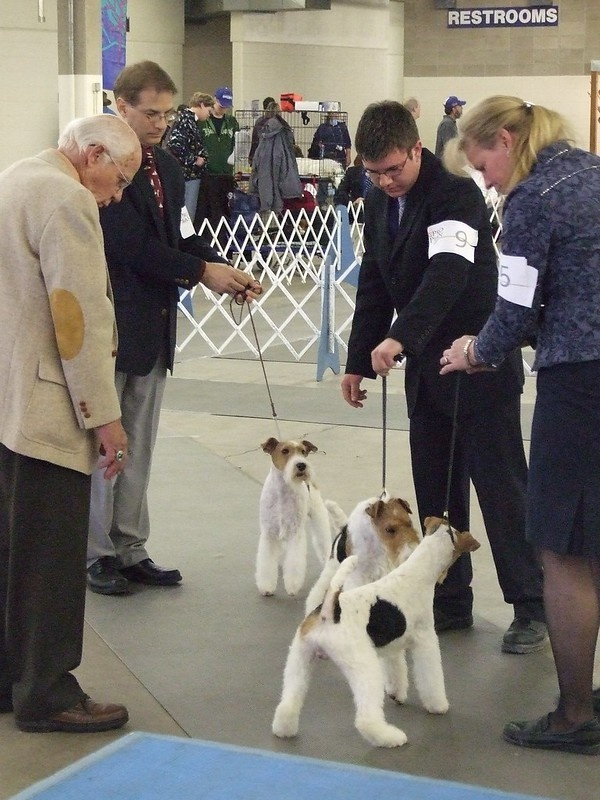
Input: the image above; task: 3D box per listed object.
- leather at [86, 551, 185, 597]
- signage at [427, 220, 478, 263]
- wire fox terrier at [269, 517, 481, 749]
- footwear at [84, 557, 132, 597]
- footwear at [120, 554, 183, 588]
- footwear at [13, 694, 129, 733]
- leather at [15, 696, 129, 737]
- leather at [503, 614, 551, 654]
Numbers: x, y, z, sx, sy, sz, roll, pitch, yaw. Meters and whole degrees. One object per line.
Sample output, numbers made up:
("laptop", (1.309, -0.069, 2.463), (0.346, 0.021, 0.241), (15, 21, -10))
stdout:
("leather", (-0.671, 0.685, 3.216), (0.261, 0.083, 0.173), (-6, -7, 36))
("signage", (0.463, -0.486, 2.524), (0.139, 0.096, 0.128), (-6, 13, -18))
("wire fox terrier", (0.195, 0.576, 2.316), (0.352, 0.547, 0.761), (7, 14, 41))
("footwear", (-0.747, 0.691, 3.170), (0.096, 0.088, 0.220), (1, -2, -36))
("footwear", (-0.588, 0.698, 3.308), (0.271, 0.098, 0.097), (-1, 0, 17))
("footwear", (-0.596, 0.816, 2.138), (0.275, 0.098, 0.094), (-2, 0, -10))
("leather", (-0.592, 0.820, 2.140), (0.274, 0.097, 0.094), (-2, 0, -10))
("leather", (0.729, 0.771, 2.646), (0.085, 0.076, 0.171), (-11, -11, 28))
